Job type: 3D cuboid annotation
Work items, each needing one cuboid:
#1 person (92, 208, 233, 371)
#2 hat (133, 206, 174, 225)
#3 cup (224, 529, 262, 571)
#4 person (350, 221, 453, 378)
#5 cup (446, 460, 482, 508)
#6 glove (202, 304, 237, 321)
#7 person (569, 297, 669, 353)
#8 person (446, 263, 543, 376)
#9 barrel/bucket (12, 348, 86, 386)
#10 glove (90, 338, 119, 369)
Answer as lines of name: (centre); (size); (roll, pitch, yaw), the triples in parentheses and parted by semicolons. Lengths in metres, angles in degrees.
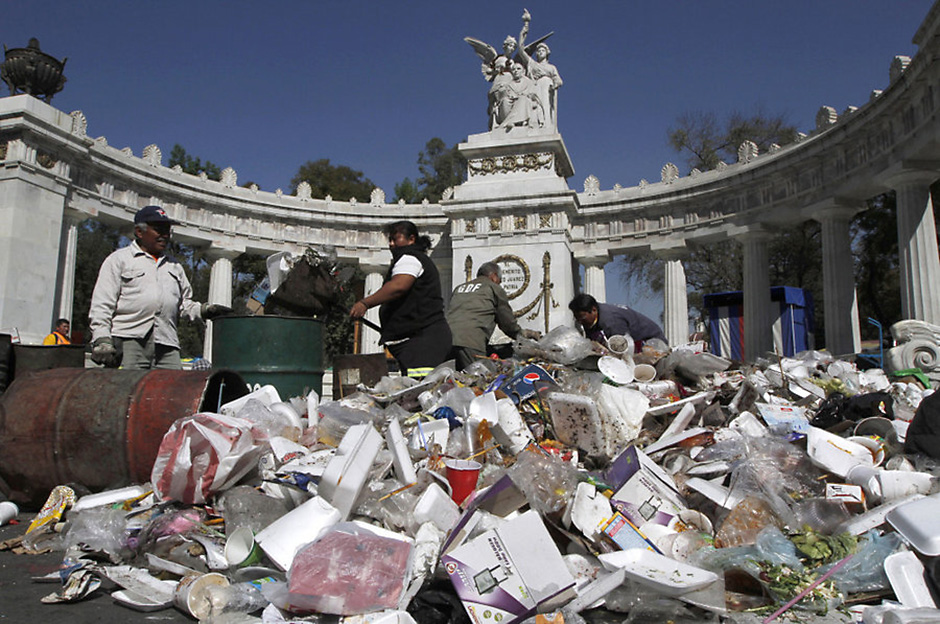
person: (-3.814, -0.269, 8.371); (0.510, 1.912, 1.220); (-6, -8, 39)
hat: (-3.751, -1.148, 8.376); (0.412, 0.222, 0.294); (-1, 0, -3)
cup: (-1.937, 1.985, 5.973); (0.277, 0.275, 0.207); (-36, -39, 1)
person: (-0.719, -0.181, 8.681); (1.068, 1.868, 0.719); (1, -7, -10)
cup: (-0.055, 1.543, 6.402); (0.333, 0.471, 0.321); (0, -21, 0)
glove: (-3.153, -0.018, 8.770); (0.223, 0.118, 0.311); (5, -10, -37)
person: (1.790, 0.226, 8.804); (0.703, 0.283, 0.591); (15, 3, -6)
person: (0.161, 0.047, 9.687); (0.934, 1.483, 0.593); (3, -7, -26)
barrel/bucket: (-4.741, 0.567, 8.049); (0.547, 0.561, 0.529); (-1, -8, 0)
glove: (-4.012, 0.467, 7.867); (0.245, 0.340, 0.338); (-4, -6, -4)
